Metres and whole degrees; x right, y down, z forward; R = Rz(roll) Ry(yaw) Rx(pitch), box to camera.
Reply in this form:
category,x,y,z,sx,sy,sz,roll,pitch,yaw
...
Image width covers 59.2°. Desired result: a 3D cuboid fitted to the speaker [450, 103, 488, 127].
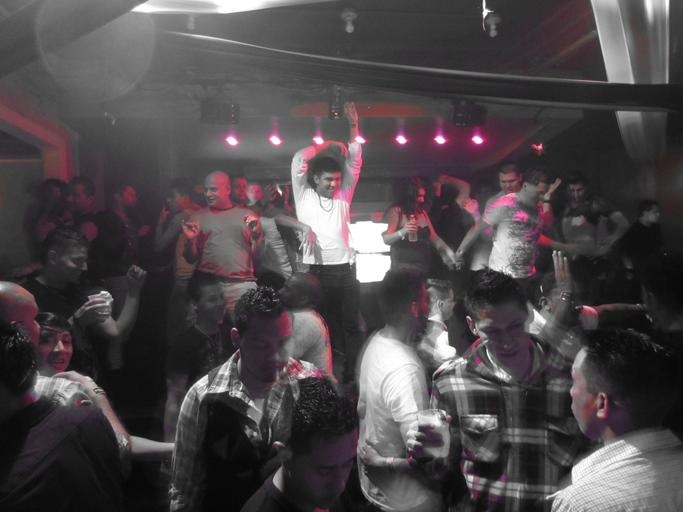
category,x,y,z,sx,sy,sz,roll,pitch,yaw
speaker,1.354,-1.541,6.454,0.368,0.240,0.290,4,-4,-24

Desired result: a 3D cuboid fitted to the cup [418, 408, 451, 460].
category,x,y,z,sx,sy,sz,roll,pitch,yaw
cup,0.452,0.859,2.889,0.126,0.255,0.219,1,-4,27
